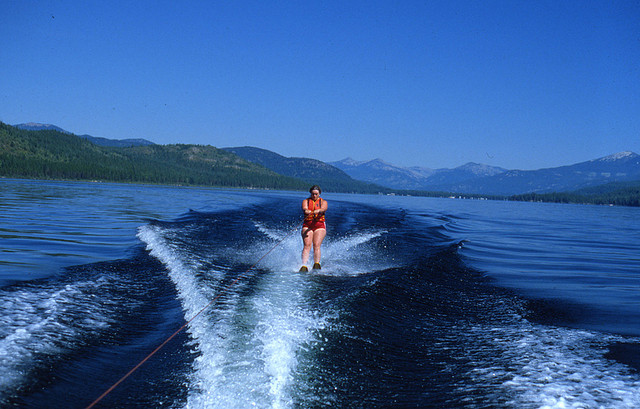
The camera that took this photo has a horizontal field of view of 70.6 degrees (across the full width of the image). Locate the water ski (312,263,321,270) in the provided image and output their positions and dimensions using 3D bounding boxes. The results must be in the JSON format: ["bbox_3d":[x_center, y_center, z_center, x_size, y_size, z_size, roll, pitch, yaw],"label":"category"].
[{"bbox_3d":[-0.106,1.805,13.230,0.211,0.184,0.104,4,15,7],"label":"water ski"}]
